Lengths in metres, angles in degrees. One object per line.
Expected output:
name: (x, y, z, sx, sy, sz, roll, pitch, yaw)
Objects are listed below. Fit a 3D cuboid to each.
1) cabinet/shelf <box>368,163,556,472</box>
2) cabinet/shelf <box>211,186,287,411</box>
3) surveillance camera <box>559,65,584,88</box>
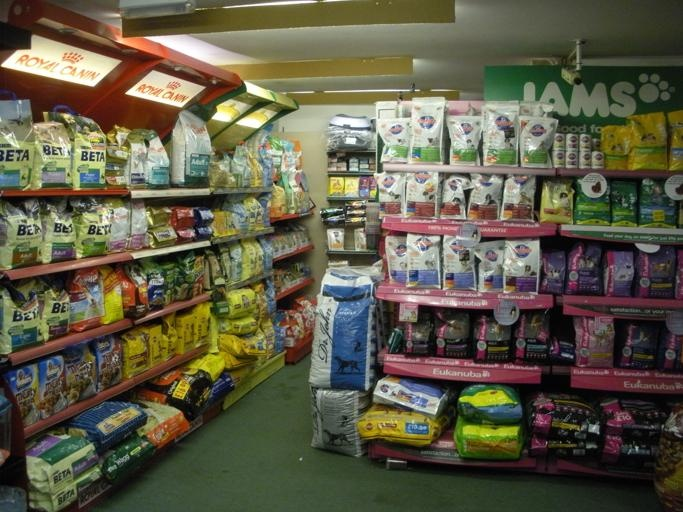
cabinet/shelf: (0.901, 0.448, 3.690, 1.274, 2.213, 0.816, 4, 12, 19)
cabinet/shelf: (-0.940, 0.355, 5.005, 0.644, 2.027, 1.377, -2, 11, -6)
surveillance camera: (1.720, -1.339, 3.679, 0.081, 0.094, 0.188, -12, 8, 3)
